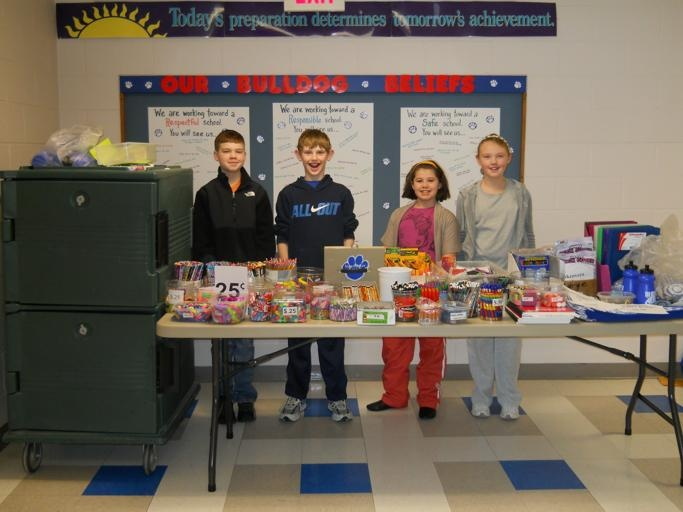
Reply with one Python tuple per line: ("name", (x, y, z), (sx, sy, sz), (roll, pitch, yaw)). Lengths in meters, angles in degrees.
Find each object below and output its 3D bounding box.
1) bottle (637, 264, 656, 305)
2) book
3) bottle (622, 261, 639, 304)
("bottle", (1.648, 0.158, 3.184), (0.083, 0.191, 0.110), (1, 13, 6))
("book", (1.629, -0.098, 3.551), (0.427, 0.443, 0.331), (-1, 13, -4))
("bottle", (1.588, 0.143, 3.242), (0.078, 0.197, 0.100), (6, 15, 25))
